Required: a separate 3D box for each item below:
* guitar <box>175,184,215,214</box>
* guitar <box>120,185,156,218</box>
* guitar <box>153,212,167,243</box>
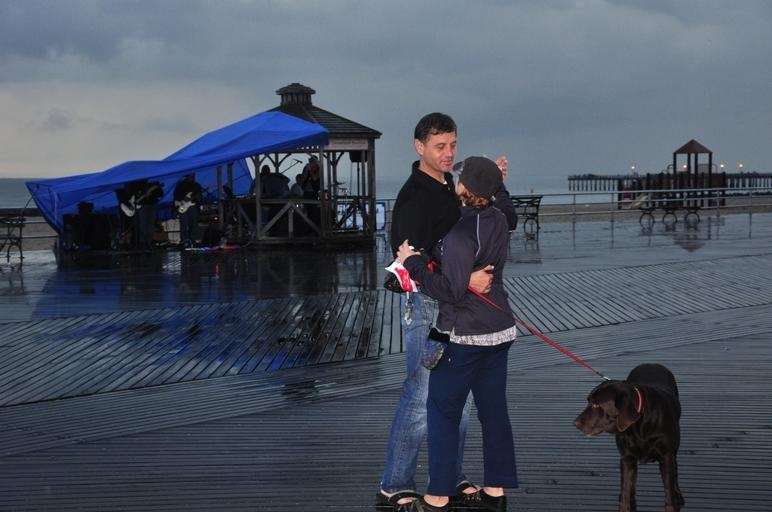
[{"bbox_3d":[-4.317,-1.270,21.417,0.594,0.771,0.450,-3,9,-12],"label":"guitar"},{"bbox_3d":[-5.337,-1.217,20.960,0.697,0.668,0.163,-40,31,-21],"label":"guitar"},{"bbox_3d":[-5.120,-0.622,22.195,0.217,0.615,0.431,-3,-1,-24],"label":"guitar"}]
